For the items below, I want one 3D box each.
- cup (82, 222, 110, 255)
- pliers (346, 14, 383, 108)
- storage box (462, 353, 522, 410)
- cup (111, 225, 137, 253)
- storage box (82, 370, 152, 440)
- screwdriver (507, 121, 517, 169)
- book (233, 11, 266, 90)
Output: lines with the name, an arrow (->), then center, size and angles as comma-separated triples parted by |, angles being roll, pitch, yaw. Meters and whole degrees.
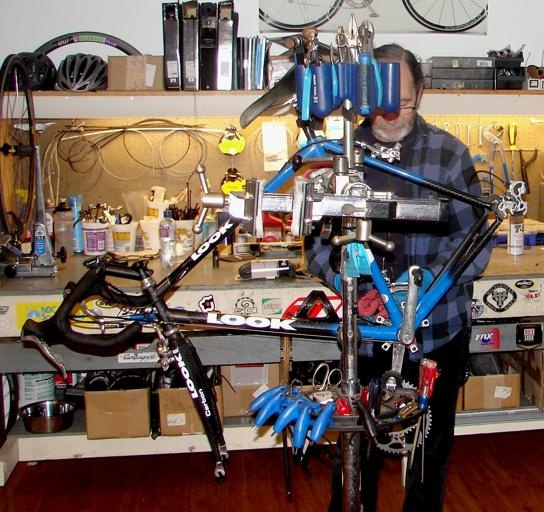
cup -> -0.907, -0.091, 2.822 | 0.158, 0.175, 0.153 | 2, 1, 0
pliers -> 0.195, -0.417, 1.177 | 0.077, 0.202, 0.062 | -2, -5, -5
storage box -> 1.043, 0.618, 2.691 | 0.264, 0.172, 0.268 | -2, 2, 2
cup -> -0.752, -0.087, 2.801 | 0.132, 0.153, 0.143 | 0, 3, 0
storage box -> -0.706, 0.672, 2.550 | 0.282, 0.291, 0.221 | 1, 8, -10
screwdriver -> 1.386, -0.637, 3.172 | 0.044, 0.309, 0.025 | 2, 16, 10
book -> -0.111, -0.991, 2.824 | 0.182, 0.260, 0.058 | -1, 11, 2
